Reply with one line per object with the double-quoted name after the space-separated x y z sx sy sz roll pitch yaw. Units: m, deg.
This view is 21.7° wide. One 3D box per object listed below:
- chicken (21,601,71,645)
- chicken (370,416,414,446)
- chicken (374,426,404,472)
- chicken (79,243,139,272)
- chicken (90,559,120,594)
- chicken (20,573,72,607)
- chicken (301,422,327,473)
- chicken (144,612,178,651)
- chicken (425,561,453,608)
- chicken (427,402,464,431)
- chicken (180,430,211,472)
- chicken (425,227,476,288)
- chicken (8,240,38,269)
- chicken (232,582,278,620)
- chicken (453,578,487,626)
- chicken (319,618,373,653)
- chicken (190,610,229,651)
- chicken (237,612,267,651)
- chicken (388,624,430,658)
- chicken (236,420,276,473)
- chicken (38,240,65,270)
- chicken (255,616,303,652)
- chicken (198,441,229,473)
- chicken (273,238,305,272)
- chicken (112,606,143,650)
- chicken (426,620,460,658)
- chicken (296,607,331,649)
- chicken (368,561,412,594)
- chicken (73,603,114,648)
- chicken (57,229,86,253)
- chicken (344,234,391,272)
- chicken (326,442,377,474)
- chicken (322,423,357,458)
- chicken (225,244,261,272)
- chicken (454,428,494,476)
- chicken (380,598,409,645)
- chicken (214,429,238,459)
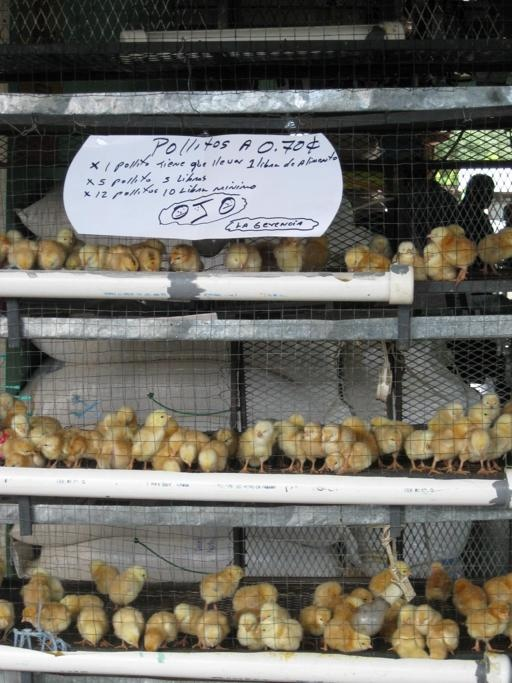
-0.564 0.754 3.582 0.116 0.078 0.105 0 3 -5 "chicken"
0.366 0.235 3.656 0.106 0.062 0.057 15 27 38 "chicken"
0.359 0.277 3.607 0.077 0.116 0.093 -6 13 6 "chicken"
-0.385 -0.229 3.536 0.119 0.069 0.207 -14 14 -30 "chicken"
-0.429 0.668 3.778 0.064 0.054 0.102 -19 51 -4 "chicken"
-0.584 0.684 3.700 0.089 0.047 0.111 13 3 2 "chicken"
0.152 0.279 3.571 0.054 0.124 0.078 -9 13 -5 "chicken"
-0.246 0.768 3.536 0.062 0.095 0.096 2 -25 4 "chicken"
0.509 0.687 3.743 0.058 0.066 0.113 -9 19 19 "chicken"
0.509 0.198 3.602 0.045 0.053 0.101 -6 -22 -32 "chicken"
-0.161 0.284 3.607 0.059 0.079 0.109 -18 46 29 "chicken"
0.525 -0.252 3.504 0.138 0.137 0.098 -5 13 18 "chicken"
-0.610 -0.239 3.507 0.052 0.040 0.091 -2 34 -6 "chicken"
-0.007 0.704 3.641 0.104 0.044 0.079 -13 26 -32 "chicken"
0.571 0.702 3.616 0.071 0.067 0.111 -9 -3 1 "chicken"
0.232 0.782 3.509 0.117 0.067 0.045 7 -7 9 "chicken"
-0.120 0.768 3.557 0.069 0.069 0.096 4 32 -1 "chicken"
-0.018 0.768 3.526 0.073 0.100 0.097 8 -9 17 "chicken"
0.399 0.797 3.511 0.093 0.063 0.105 -6 12 5 "chicken"
0.002 0.271 3.632 0.096 0.171 0.183 -1 17 -11 "chicken"
-0.540 -0.239 3.526 0.052 0.051 0.091 1 11 -8 "chicken"
0.066 0.770 3.505 0.105 0.071 0.068 12 -44 -33 "chicken"
-0.105 0.310 3.581 0.058 0.083 0.088 -6 49 11 "chicken"
0.090 -0.241 3.607 0.077 0.095 0.039 2 -4 6 "chicken"
-0.339 0.770 3.541 0.062 0.074 0.113 -4 6 -13 "chicken"
0.485 0.780 3.500 0.064 0.043 0.106 2 15 16 "chicken"
0.153 0.773 3.594 0.066 0.087 0.093 2 -4 -26 "chicken"
0.359 0.635 3.589 0.056 0.073 0.125 6 -27 -40 "chicken"
-0.440 0.765 3.582 0.063 0.080 0.102 -5 9 -30 "chicken"
-0.501 -0.286 3.623 0.050 0.048 0.090 -41 33 13 "chicken"
0.314 -0.256 3.543 0.131 0.118 0.089 10 22 34 "chicken"
0.247 0.308 3.528 0.109 0.077 0.039 11 14 -25 "chicken"
0.214 0.259 3.538 0.090 0.091 0.059 -7 13 2 "chicken"
-0.033 -0.229 3.507 0.092 0.072 0.067 4 -3 -43 "chicken"
0.588 0.284 3.571 0.098 0.152 0.161 -3 23 5 "chicken"
0.378 0.768 3.640 0.044 0.055 0.142 23 20 4 "chicken"
-0.082 0.270 3.660 0.047 0.053 0.089 -5 -18 2 "chicken"
